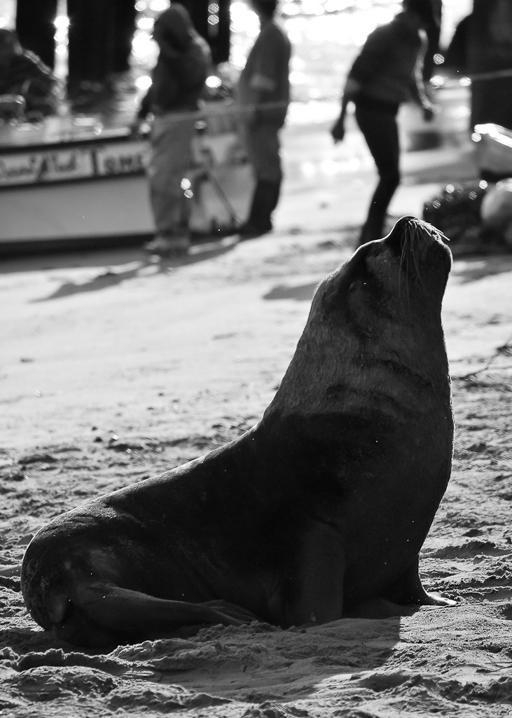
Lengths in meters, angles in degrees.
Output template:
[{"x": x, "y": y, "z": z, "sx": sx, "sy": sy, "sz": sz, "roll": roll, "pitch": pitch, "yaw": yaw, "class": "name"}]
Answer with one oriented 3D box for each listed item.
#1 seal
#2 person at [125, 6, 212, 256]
[{"x": -0.017, "y": 0.211, "z": 4.771, "sx": 1.240, "sy": 1.258, "sz": 0.450, "roll": -1, "pitch": 10, "yaw": -2, "class": "seal"}, {"x": -0.686, "y": -1.900, "z": 12.704, "sx": 0.438, "sy": 2.220, "sz": 0.442, "roll": -18, "pitch": 26, "yaw": -39, "class": "person"}]
